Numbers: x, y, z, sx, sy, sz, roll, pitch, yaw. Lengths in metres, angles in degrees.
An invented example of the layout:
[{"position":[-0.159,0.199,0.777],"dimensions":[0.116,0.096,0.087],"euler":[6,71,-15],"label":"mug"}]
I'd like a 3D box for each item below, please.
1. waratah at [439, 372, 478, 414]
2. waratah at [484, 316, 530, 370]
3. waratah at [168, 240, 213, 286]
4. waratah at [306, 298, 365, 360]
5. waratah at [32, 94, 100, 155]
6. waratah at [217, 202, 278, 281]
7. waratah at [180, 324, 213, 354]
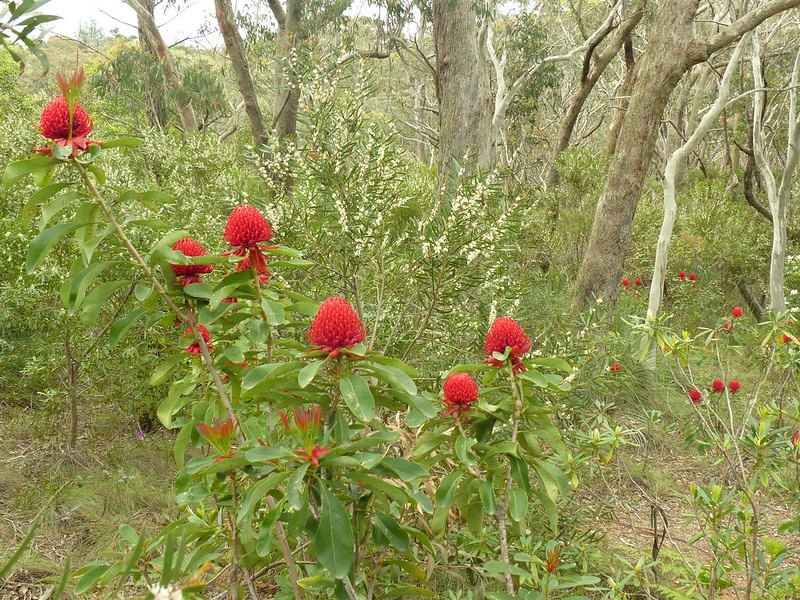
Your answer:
[{"position":[0.288,0.446,3.102],"dimensions":[0.161,0.197,0.183],"euler":[0,-5,-6],"label":"waratah"},{"position":[0.506,0.207,3.116],"dimensions":[0.223,0.266,0.225],"euler":[-3,-27,19],"label":"waratah"},{"position":[-0.954,-0.178,2.942],"dimensions":[0.184,0.204,0.251],"euler":[-6,15,-17],"label":"waratah"},{"position":[-0.269,0.111,2.719],"dimensions":[0.224,0.280,0.234],"euler":[-2,3,-13],"label":"waratah"},{"position":[-1.449,-0.770,2.798],"dimensions":[0.161,0.234,0.184],"euler":[-1,8,16],"label":"waratah"},{"position":[-0.702,-0.261,2.934],"dimensions":[0.194,0.354,0.186],"euler":[7,8,22],"label":"waratah"},{"position":[-0.972,0.170,3.070],"dimensions":[0.114,0.169,0.244],"euler":[-5,15,-14],"label":"waratah"}]
